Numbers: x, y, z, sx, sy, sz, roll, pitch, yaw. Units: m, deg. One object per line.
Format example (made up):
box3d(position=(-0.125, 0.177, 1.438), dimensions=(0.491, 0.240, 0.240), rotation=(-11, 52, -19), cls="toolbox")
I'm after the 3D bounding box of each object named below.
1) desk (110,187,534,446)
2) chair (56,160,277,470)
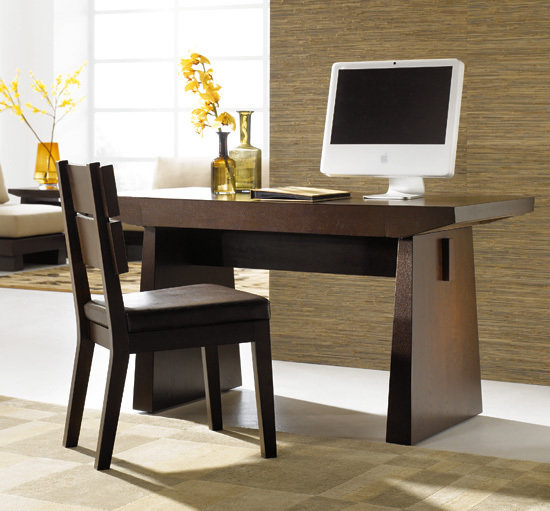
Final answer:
box3d(position=(0.088, 0.176, 1.984), dimensions=(1.385, 0.691, 0.606), rotation=(0, -1, 31), cls="desk")
box3d(position=(-0.403, 0.106, 1.848), dimensions=(0.799, 1.090, 0.632), rotation=(-3, 5, -25), cls="chair")
